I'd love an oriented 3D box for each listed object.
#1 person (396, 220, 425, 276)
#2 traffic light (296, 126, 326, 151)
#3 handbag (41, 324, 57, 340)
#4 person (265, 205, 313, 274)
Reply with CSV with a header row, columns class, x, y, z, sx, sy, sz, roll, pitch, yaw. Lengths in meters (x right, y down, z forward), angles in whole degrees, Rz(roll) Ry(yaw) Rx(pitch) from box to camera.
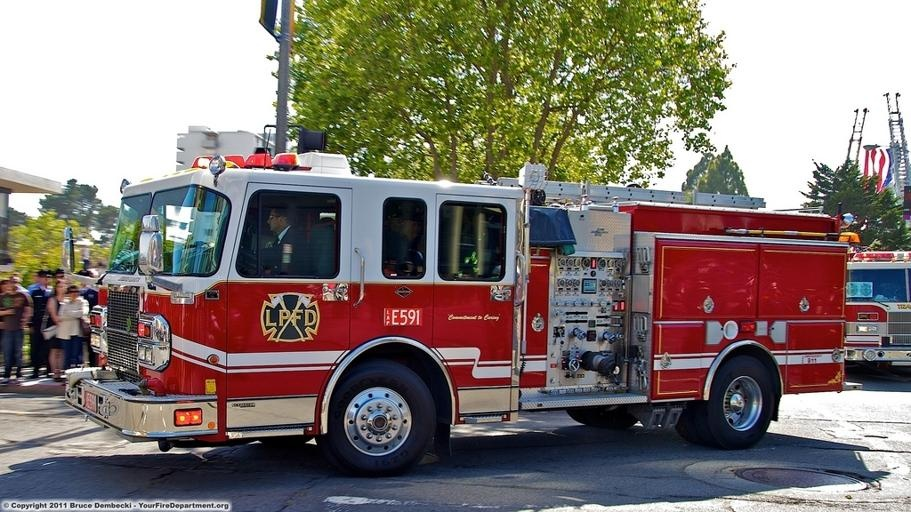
class,x,y,z,sx,sy,sz,roll,pitch,yaw
person,-0.677,-0.119,12.915,0.402,0.931,0.219,1,8,-6
traffic light,-2.538,-2.055,14.356,0.437,0.439,0.764,-1,7,-17
handbag,-8.951,1.693,17.821,0.467,0.276,0.330,0,3,-4
person,-2.558,-0.231,12.453,0.583,1.049,0.208,-1,9,-17
